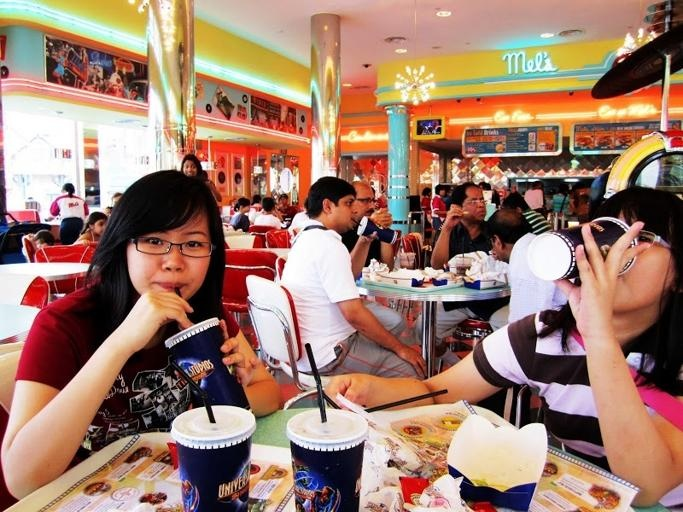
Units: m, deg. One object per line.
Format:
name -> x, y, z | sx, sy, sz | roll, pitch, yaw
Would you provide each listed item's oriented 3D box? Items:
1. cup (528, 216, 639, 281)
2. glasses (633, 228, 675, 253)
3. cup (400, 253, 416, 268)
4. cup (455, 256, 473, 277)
cup -> 0.480, -0.027, 1.066 | 0.213, 0.156, 0.154 | -3, 13, -22
glasses -> 0.707, -0.034, 1.112 | 0.072, 0.022, 0.063 | 16, 3, 10
cup -> 0.670, 0.047, 4.826 | 0.149, 0.154, 0.143 | -1, 3, 0
cup -> 0.794, 0.063, 3.274 | 0.092, 0.141, 0.135 | 2, -5, -7
